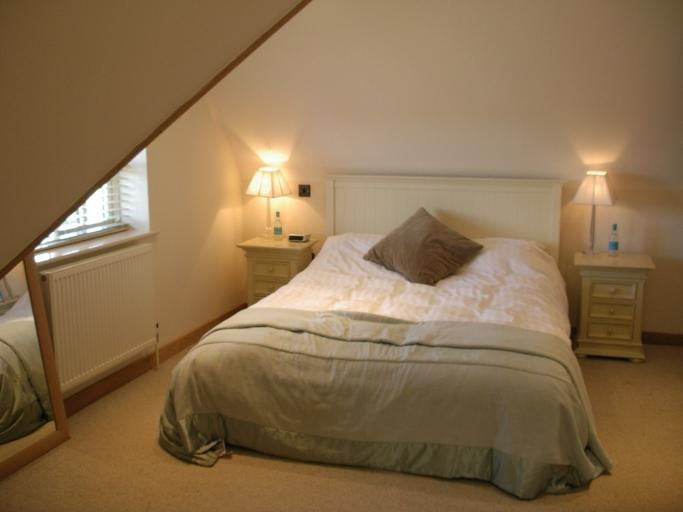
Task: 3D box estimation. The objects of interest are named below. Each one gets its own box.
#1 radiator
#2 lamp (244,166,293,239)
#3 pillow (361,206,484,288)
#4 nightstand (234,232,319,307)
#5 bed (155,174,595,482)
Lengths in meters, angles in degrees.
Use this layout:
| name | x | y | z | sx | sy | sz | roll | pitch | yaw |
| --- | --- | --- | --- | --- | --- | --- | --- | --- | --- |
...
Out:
| name | x | y | z | sx | sy | sz | roll | pitch | yaw |
| --- | --- | --- | --- | --- | --- | --- | --- | --- | --- |
| radiator | -1.318 | 0.326 | 2.797 | 0.106 | 0.653 | 0.703 | 1 | 13 | 17 |
| lamp | -0.586 | -0.410 | 4.071 | 0.328 | 0.494 | 0.330 | -1 | 11 | -26 |
| pillow | 0.555 | -0.058 | 3.528 | 0.707 | 0.228 | 0.653 | -26 | 30 | -36 |
| nightstand | -0.516 | 0.143 | 4.100 | 0.464 | 0.606 | 0.405 | 6 | 28 | 1 |
| bed | 0.426 | 0.247 | 3.251 | 1.971 | 1.097 | 2.588 | 0 | 12 | 21 |
